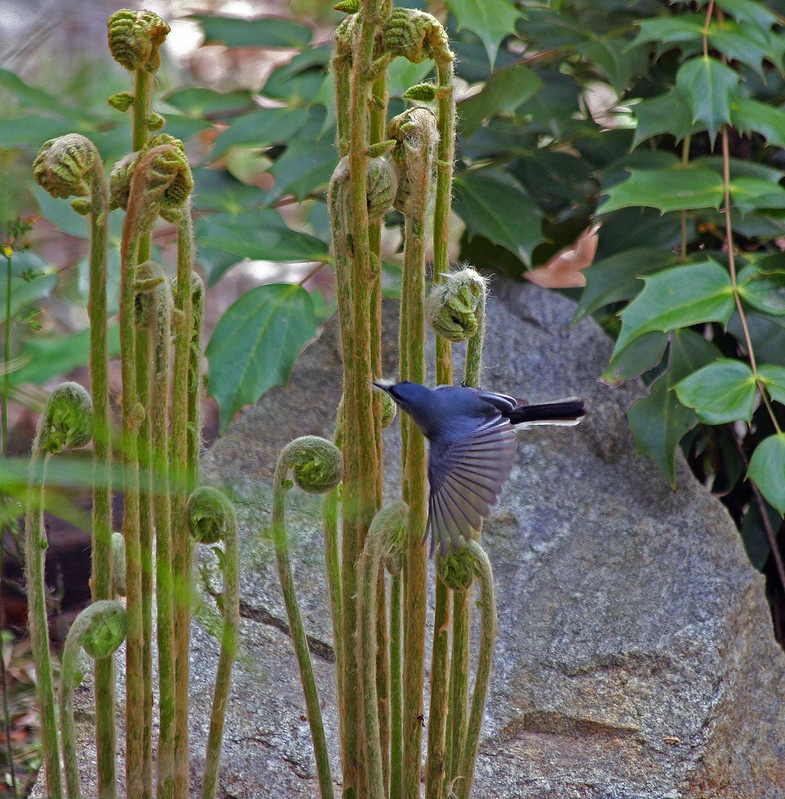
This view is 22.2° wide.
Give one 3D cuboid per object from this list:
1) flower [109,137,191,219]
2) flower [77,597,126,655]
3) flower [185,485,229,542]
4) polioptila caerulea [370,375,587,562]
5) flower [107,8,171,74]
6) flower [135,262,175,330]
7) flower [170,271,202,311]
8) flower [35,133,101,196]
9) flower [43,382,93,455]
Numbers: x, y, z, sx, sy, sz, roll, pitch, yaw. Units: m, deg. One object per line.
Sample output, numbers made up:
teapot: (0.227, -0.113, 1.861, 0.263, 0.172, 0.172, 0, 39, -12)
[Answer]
flower: (-0.144, -0.136, 1.195, 0.049, 0.045, 0.033, -3, 17, -7)
flower: (-0.172, 0.139, 1.201, 0.028, 0.037, 0.019, -6, 18, -18)
flower: (-0.113, 0.069, 1.212, 0.027, 0.032, 0.017, 4, 1, -1)
polioptila caerulea: (0.051, 0.018, 1.250, 0.128, 0.068, 0.167, 2, 58, 2)
flower: (-0.150, -0.215, 1.193, 0.036, 0.037, 0.020, -11, 14, -30)
flower: (-0.143, -0.064, 1.206, 0.022, 0.039, 0.027, -3, 17, -7)
flower: (-0.129, -0.069, 1.247, 0.017, 0.022, 0.008, -18, 28, -34)
flower: (-0.195, -0.139, 1.192, 0.034, 0.040, 0.029, 10, 20, 32)
flower: (-0.197, 0.011, 1.216, 0.031, 0.040, 0.023, -4, 17, -10)
